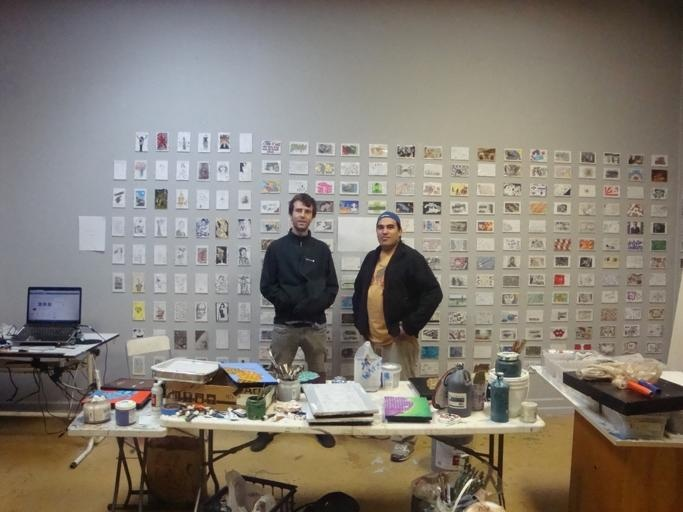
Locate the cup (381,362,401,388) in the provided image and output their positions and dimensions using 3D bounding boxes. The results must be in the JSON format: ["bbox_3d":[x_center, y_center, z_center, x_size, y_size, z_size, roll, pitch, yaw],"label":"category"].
[{"bbox_3d":[0.387,0.925,4.504,0.157,0.183,0.107,-2,4,-13],"label":"cup"}]

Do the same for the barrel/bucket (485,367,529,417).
[{"bbox_3d":[1.241,0.984,4.300,0.313,0.325,0.302,0,-4,0],"label":"barrel/bucket"}]

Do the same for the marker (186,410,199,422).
[{"bbox_3d":[-1.039,1.120,4.083,0.041,0.020,0.062,4,21,15],"label":"marker"}]

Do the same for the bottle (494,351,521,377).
[{"bbox_3d":[1.208,0.775,4.225,0.169,0.154,0.174,1,-3,5],"label":"bottle"}]

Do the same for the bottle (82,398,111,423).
[{"bbox_3d":[-1.705,1.077,4.108,0.159,0.158,0.173,1,-4,-3],"label":"bottle"}]

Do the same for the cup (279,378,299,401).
[{"bbox_3d":[-0.387,0.986,4.311,0.142,0.120,0.145,1,-5,0],"label":"cup"}]

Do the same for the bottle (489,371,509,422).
[{"bbox_3d":[1.111,0.990,4.093,0.129,0.342,0.117,0,4,14],"label":"bottle"}]

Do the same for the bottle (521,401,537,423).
[{"bbox_3d":[1.334,1.110,4.143,0.131,0.119,0.117,1,-3,2],"label":"bottle"}]

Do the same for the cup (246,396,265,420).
[{"bbox_3d":[-0.586,1.062,4.083,0.133,0.144,0.139,2,-3,0],"label":"cup"}]

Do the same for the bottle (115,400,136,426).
[{"bbox_3d":[-1.495,1.102,4.135,0.150,0.156,0.153,2,3,4],"label":"bottle"}]

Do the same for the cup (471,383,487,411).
[{"bbox_3d":[0.983,1.017,4.185,0.164,0.177,0.138,1,-3,10],"label":"cup"}]

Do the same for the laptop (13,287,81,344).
[{"bbox_3d":[-2.723,0.481,5.453,0.569,0.440,0.487,1,1,-3],"label":"laptop"}]
